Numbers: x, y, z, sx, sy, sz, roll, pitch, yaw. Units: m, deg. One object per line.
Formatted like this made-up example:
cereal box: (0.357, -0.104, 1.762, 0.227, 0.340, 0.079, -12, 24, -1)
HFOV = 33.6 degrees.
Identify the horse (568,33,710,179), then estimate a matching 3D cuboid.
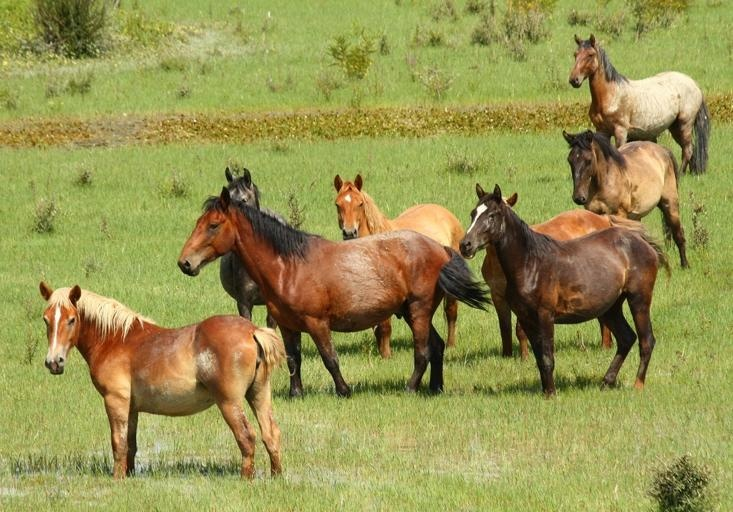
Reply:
horse: (7.175, -3.771, 31.589, 4.591, 3.818, 1.489, -4, 14, -25)

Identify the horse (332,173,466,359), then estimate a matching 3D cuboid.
horse: (0.950, 0.031, 26.731, 1.137, 3.379, 3.894, -3, 0, 45)

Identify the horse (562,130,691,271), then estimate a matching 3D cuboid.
horse: (6.128, -1.315, 28.242, 1.279, 3.446, 4.518, 8, 13, 44)
